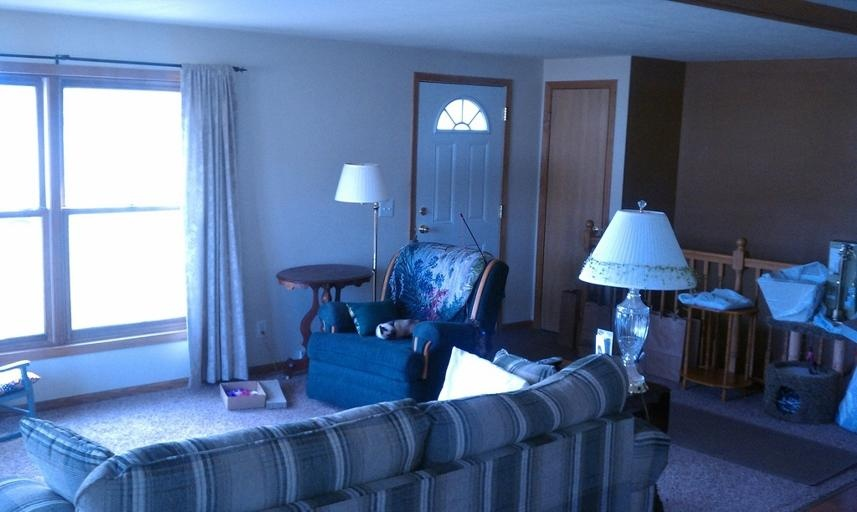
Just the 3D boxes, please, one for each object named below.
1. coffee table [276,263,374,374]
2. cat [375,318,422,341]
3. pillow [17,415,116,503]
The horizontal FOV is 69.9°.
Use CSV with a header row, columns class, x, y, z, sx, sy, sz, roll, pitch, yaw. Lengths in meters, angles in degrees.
class,x,y,z,sx,sy,sz,roll,pitch,yaw
coffee table,-0.998,0.637,6.127,1.084,0.993,1.060,-6,15,-39
cat,-0.246,0.654,5.512,0.334,0.119,0.173,-6,-3,-23
pillow,-1.644,0.938,2.830,0.512,0.326,0.224,10,17,40
